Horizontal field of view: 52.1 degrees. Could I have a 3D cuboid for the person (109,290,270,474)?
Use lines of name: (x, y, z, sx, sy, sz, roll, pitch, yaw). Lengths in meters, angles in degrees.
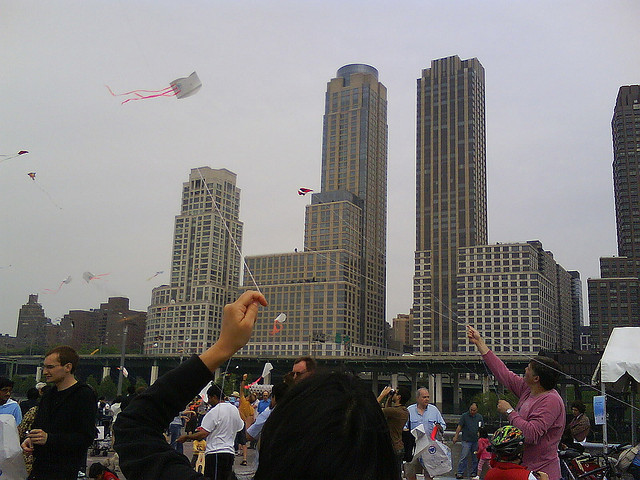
person: (-0.747, 0.760, 3.574, 0.850, 0.974, 0.252, -3, -16, 10)
